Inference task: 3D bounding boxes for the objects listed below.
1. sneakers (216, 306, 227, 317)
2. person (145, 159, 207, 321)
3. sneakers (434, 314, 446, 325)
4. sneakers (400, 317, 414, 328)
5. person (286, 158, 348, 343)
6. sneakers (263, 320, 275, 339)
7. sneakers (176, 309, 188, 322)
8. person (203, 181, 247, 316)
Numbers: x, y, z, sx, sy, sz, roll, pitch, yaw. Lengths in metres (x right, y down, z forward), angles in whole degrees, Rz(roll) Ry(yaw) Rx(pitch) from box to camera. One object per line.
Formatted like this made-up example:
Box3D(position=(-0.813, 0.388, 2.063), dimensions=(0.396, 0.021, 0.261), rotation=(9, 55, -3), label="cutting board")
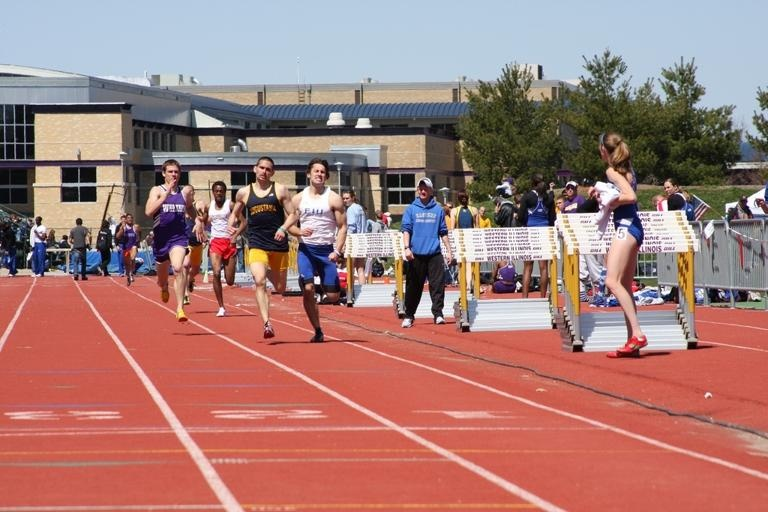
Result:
Box3D(position=(-3.021, 1.025, 19.213), dimensions=(0.123, 0.148, 0.357), rotation=(0, 4, -10), label="sneakers")
Box3D(position=(-3.548, -0.356, 17.267), dimensions=(0.996, 2.567, 1.071), rotation=(0, 0, -39), label="person")
Box3D(position=(0.926, 1.094, 17.772), dimensions=(0.155, 0.182, 0.446), rotation=(0, -3, -4), label="sneakers")
Box3D(position=(0.377, 1.126, 17.438), dimensions=(0.161, 0.213, 0.457), rotation=(0, -3, 10), label="sneakers")
Box3D(position=(-0.971, -0.212, 14.954), dimensions=(0.868, 2.161, 0.910), rotation=(0, 1, -25), label="person")
Box3D(position=(-1.658, 1.049, 14.830), dimensions=(0.157, 0.200, 0.467), rotation=(-2, 5, -3), label="sneakers")
Box3D(position=(-3.242, 0.956, 16.539), dimensions=(0.160, 0.182, 0.445), rotation=(0, -8, -13), label="sneakers")
Box3D(position=(-3.128, -0.176, 19.888), dimensions=(0.877, 2.597, 1.024), rotation=(0, 0, -33), label="person")
